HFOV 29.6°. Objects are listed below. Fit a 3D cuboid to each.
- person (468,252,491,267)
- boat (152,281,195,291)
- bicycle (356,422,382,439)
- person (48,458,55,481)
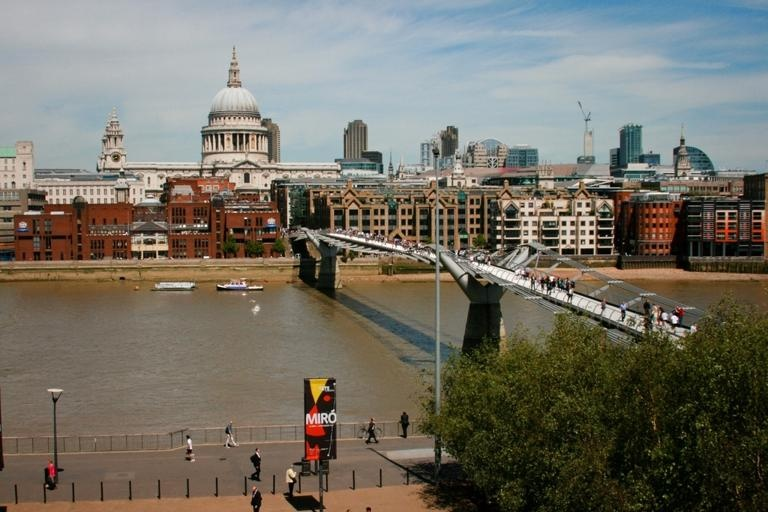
[{"bbox_3d":[6.006,0.312,92.072,1.023,1.022,2.038,6,16,14],"label":"person"},{"bbox_3d":[-19.022,2.635,130.915,3.668,0.696,4.673,-2,7,-9],"label":"boat"},{"bbox_3d":[-0.791,9.065,75.097,1.314,0.619,0.629,-3,5,-19],"label":"bicycle"},{"bbox_3d":[-15.680,10.123,68.512,0.345,0.727,0.706,-3,8,-13],"label":"person"}]
